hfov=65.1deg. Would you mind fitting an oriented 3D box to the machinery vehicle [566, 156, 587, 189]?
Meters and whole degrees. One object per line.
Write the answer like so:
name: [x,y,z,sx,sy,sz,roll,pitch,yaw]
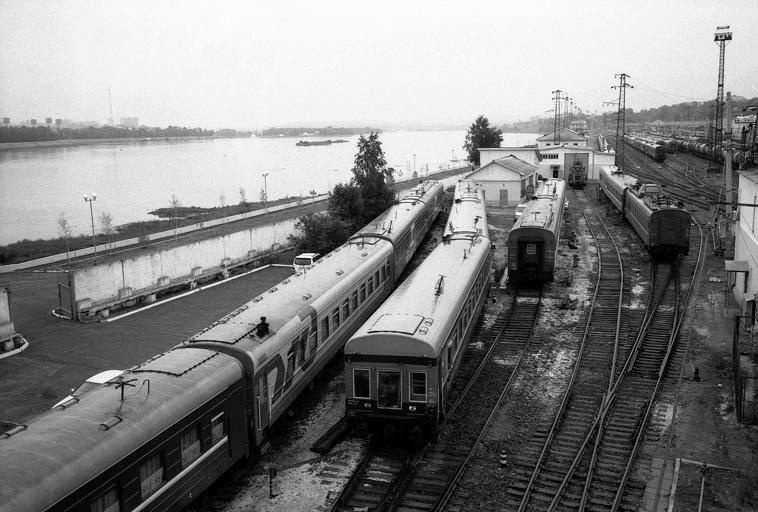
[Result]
machinery vehicle: [22.604,-9.313,67.526,1.627,2.892,5.216,1,14,16]
